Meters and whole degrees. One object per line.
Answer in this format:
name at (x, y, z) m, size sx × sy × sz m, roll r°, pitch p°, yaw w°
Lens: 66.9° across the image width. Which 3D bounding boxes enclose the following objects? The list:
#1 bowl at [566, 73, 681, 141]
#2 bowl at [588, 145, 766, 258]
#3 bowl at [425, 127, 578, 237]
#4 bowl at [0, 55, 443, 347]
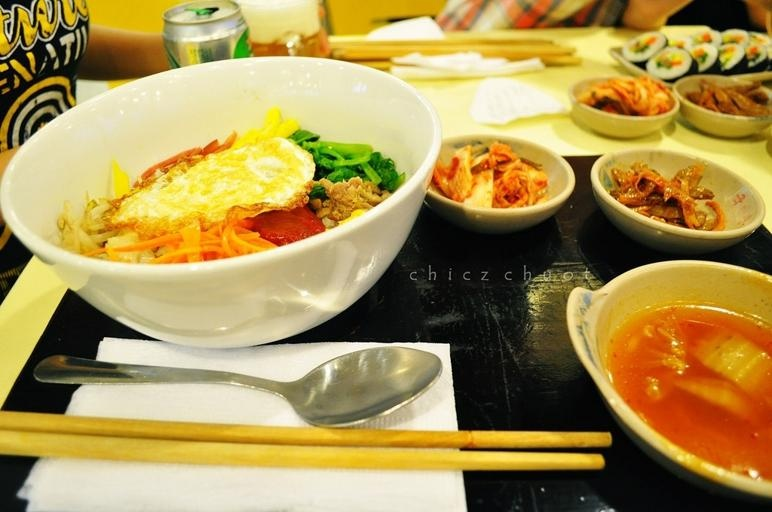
bowl at (0.856, -0.543, 2.137) m, size 0.301 × 0.119 × 0.289 m, roll -6°, pitch 41°, yaw 5°
bowl at (0.879, -0.131, 1.786) m, size 0.402 × 0.149 × 0.384 m, roll -2°, pitch 39°, yaw 2°
bowl at (0.360, -0.193, 1.808) m, size 0.384 × 0.134 × 0.371 m, roll -1°, pitch 42°, yaw 1°
bowl at (-0.369, -0.009, 1.585) m, size 0.928 × 0.370 × 0.890 m, roll -2°, pitch 42°, yaw 2°
